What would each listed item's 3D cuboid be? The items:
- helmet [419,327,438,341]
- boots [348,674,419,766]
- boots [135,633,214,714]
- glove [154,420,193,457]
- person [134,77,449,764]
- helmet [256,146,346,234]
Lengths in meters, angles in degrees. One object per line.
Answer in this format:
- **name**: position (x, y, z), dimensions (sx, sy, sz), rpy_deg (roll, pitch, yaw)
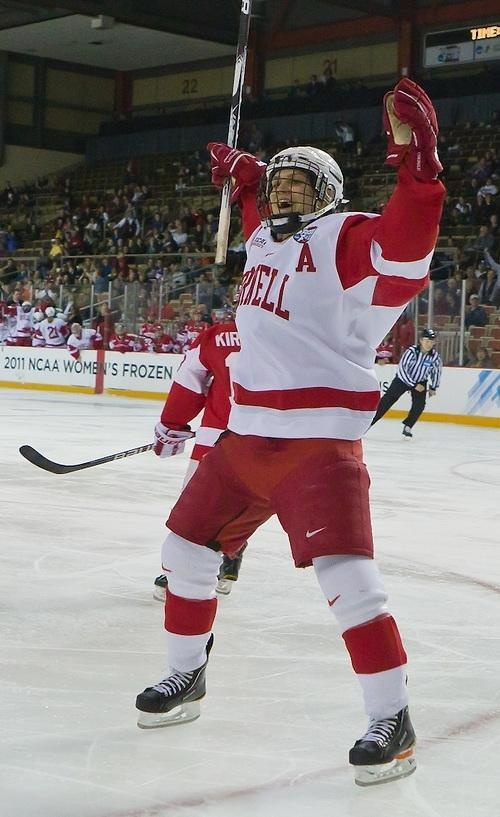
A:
- **helmet**: position (2.150, -0.877, 10.294), dimensions (0.183, 0.134, 0.239), rpy_deg (2, -6, 6)
- **boots**: position (0.285, 0.708, 1.899), dimensions (0.074, 0.122, 0.219), rpy_deg (1, -6, 42)
- **boots**: position (-0.191, 0.679, 2.178), dimensions (0.081, 0.136, 0.226), rpy_deg (17, 11, 39)
- **glove**: position (-0.242, 0.098, 2.725), dimensions (0.095, 0.090, 0.135), rpy_deg (22, 13, 36)
- **person**: position (0.139, 0.079, 1.923), dimensions (0.713, 1.424, 0.348), rpy_deg (5, 5, 42)
- **helmet**: position (0.125, -0.506, 2.137), dimensions (0.196, 0.202, 0.236), rpy_deg (-6, -5, 41)
